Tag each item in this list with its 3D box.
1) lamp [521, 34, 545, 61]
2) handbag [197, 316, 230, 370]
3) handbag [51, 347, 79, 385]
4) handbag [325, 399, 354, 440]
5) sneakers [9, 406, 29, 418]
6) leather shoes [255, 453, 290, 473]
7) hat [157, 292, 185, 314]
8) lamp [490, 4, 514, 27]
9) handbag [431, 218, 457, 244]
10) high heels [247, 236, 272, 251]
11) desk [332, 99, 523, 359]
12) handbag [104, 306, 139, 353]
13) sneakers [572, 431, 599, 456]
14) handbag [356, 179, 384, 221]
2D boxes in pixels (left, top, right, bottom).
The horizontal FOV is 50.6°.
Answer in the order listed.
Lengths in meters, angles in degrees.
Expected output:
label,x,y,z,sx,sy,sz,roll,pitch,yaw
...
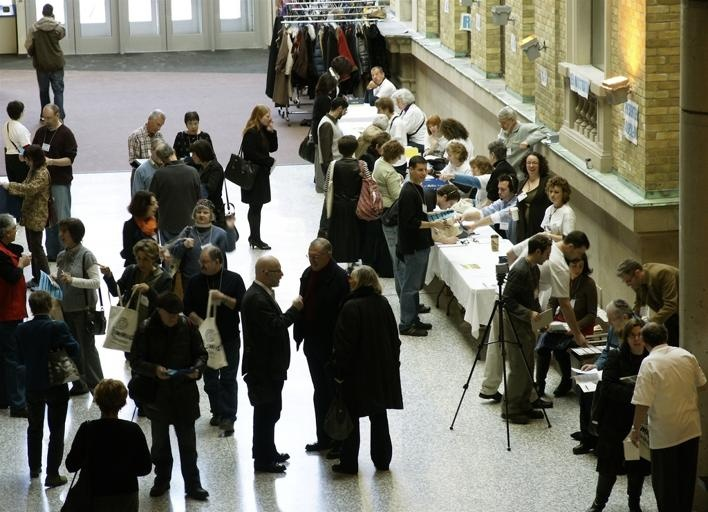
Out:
label,x,y,z,sx,sy,sz,roll,pitch,yaw
lamp,2.406,-2.843,10.153,0.367,0.304,0.277,-15,2,-13
handbag,-1.179,0.748,6.257,0.199,0.486,0.387,-4,12,-12
handbag,-2.350,0.887,6.051,0.221,0.317,0.117,-11,37,-26
handbag,-0.114,1.243,5.913,0.209,0.426,0.188,8,43,1
sneakers,-3.177,1.475,7.084,0.132,0.107,0.138,-6,20,-22
leather shoes,-0.674,1.743,6.301,0.311,0.148,0.112,-4,11,-7
hat,-1.354,0.349,5.513,0.167,0.148,0.172,-6,13,-21
lamp,2.264,-3.678,11.452,0.388,0.380,0.317,-1,7,-2
handbag,1.045,-0.265,8.648,0.301,0.287,0.257,-12,35,14
high heels,-1.377,-0.183,10.832,0.399,0.221,0.141,-3,12,-12
desk,0.840,-0.266,8.549,1.462,4.274,1.353,23,54,30
handbag,-2.013,0.647,6.504,0.290,0.409,0.293,-1,12,1
sneakers,1.981,1.594,6.474,0.191,0.186,0.213,1,12,12
handbag,0.173,-0.689,9.075,0.267,0.517,0.415,-8,0,-20
